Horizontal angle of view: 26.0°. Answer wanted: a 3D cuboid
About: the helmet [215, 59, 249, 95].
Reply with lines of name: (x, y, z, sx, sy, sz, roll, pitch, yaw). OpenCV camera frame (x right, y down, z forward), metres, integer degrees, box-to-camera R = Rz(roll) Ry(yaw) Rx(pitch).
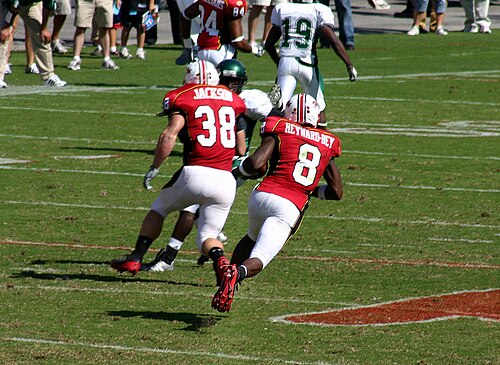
helmet: (-0.233, -1.195, 12.068, 0.400, 0.343, 0.296, 8, 13, -12)

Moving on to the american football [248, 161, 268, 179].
american football: (0.080, -0.112, 11.439, 0.190, 0.065, 0.144, -36, -8, 38)

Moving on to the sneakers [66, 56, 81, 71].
sneakers: (-3.311, -2.252, 20.479, 0.254, 0.108, 0.294, 5, 11, -10)

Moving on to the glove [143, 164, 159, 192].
glove: (-1.072, -0.048, 11.496, 0.195, 0.296, 0.126, 17, 2, 2)

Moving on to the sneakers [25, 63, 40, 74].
sneakers: (-4.021, -2.093, 19.949, 0.210, 0.181, 0.272, 0, 11, -21)

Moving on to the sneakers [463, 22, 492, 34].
sneakers: (5.251, -3.511, 24.841, 0.310, 0.120, 0.386, 4, 0, 35)

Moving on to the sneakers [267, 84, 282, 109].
sneakers: (0.298, -1.054, 12.973, 0.130, 0.328, 0.141, 2, -11, -4)

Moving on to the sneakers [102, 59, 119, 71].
sneakers: (-2.634, -2.244, 20.693, 0.145, 0.163, 0.419, -7, 8, -44)

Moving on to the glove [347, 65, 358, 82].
glove: (1.432, -1.524, 15.227, 0.177, 0.222, 0.496, -2, 9, 7)

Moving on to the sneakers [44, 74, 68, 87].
sneakers: (-3.312, -1.743, 18.412, 0.451, 0.189, 0.134, 1, 45, -5)

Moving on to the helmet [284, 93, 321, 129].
helmet: (0.548, -0.751, 11.739, 0.406, 0.402, 0.468, 2, 6, -1)
